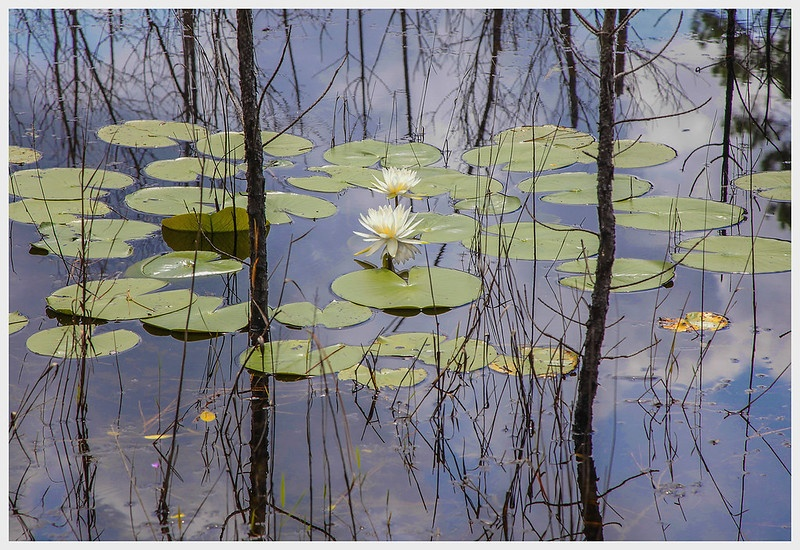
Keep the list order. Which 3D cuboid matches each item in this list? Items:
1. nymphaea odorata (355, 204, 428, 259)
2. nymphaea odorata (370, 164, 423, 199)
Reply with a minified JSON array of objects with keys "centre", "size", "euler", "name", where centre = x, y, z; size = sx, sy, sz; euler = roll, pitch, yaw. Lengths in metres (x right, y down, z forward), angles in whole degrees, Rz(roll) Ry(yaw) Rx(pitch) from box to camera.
[{"centre":[-0.094,-0.272,7.381],"size":[0.504,0.207,0.428],"euler":[-7,29,10],"name":"nymphaea odorata"},{"centre":[0.024,-0.782,7.848],"size":[0.348,0.134,0.342],"euler":[-14,19,-37],"name":"nymphaea odorata"}]
